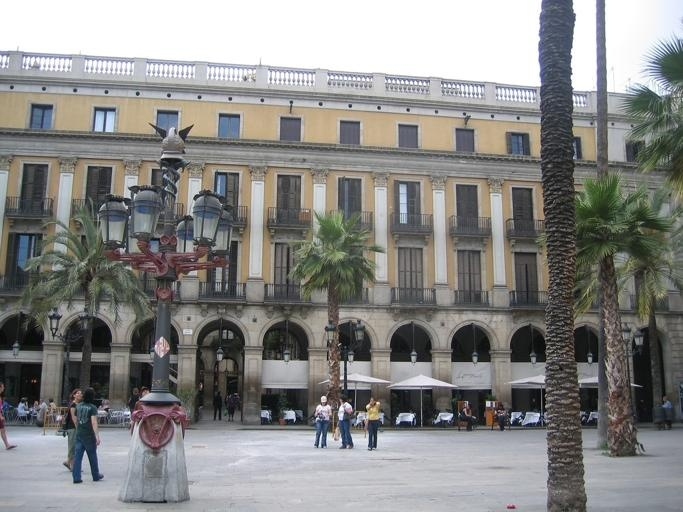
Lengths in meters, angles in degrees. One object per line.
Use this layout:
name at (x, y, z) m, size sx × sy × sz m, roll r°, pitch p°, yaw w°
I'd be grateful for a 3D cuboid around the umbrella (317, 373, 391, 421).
umbrella at (1.130, 6.867, 40.001) m, size 2.972 × 2.041 × 3.075 m, roll 3°, pitch -13°, yaw -15°

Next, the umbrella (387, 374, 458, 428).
umbrella at (4.428, 8.250, 39.552) m, size 2.771 × 3.474 × 3.536 m, roll 4°, pitch -8°, yaw -34°

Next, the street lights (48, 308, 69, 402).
street lights at (-14.753, 5.316, 37.977) m, size 0.925 × 5.366 × 0.876 m, roll -5°, pitch -6°, yaw 43°

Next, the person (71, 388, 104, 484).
person at (-6.040, 4.223, 17.445) m, size 0.725 × 2.218 × 0.568 m, roll -1°, pitch -3°, yaw 43°
